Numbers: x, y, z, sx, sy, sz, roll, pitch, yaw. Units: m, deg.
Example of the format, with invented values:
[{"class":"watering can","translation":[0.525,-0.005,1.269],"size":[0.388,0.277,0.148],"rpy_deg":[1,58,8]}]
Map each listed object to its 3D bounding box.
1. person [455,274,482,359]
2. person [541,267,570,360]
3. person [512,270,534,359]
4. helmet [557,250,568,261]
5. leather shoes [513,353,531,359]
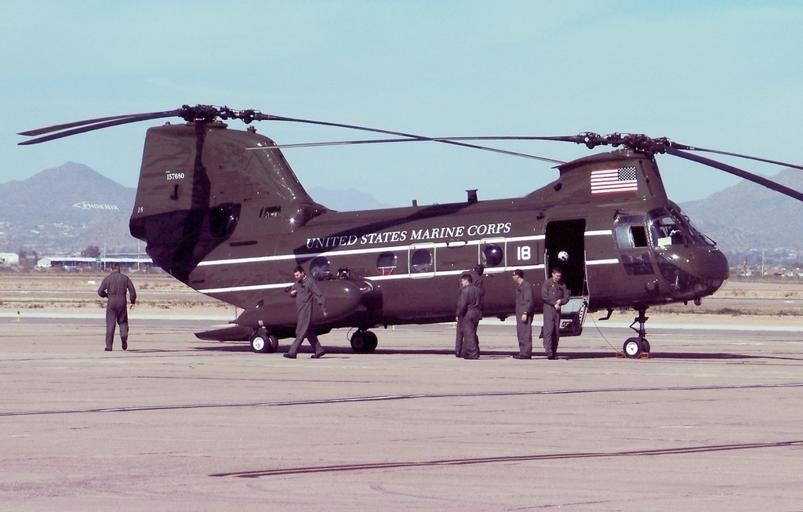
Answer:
[{"class":"person","translation":[1.832,1.609,23.556],"size":[0.658,2.310,0.726],"rpy_deg":[1,-4,4]},{"class":"person","translation":[4.096,1.536,23.137],"size":[0.712,2.418,0.693],"rpy_deg":[0,-4,13]},{"class":"person","translation":[3.256,1.548,23.292],"size":[0.579,2.413,0.834],"rpy_deg":[1,-4,7]},{"class":"helmet","translation":[4.431,0.000,23.661],"size":[0.249,0.205,0.304],"rpy_deg":[5,6,32]},{"class":"leather shoes","translation":[3.244,2.713,23.521],"size":[0.504,0.175,0.166],"rpy_deg":[4,1,35]}]
